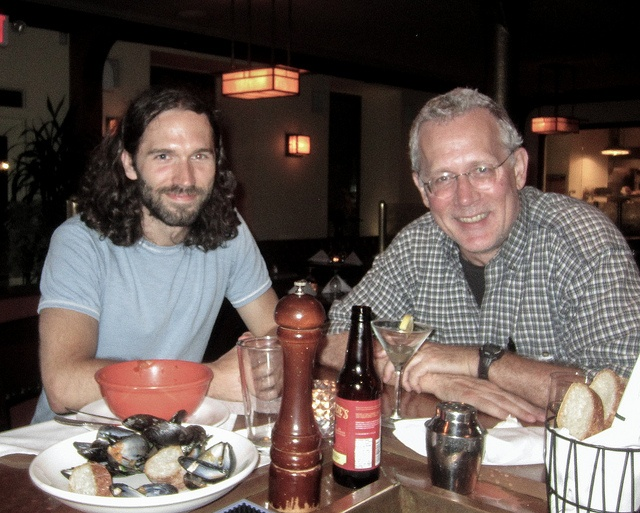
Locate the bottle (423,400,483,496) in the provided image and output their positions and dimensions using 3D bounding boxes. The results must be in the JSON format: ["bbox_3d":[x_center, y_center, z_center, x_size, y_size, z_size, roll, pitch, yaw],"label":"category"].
[{"bbox_3d":[0.244,0.353,0.961,0.143,0.177,0.139,2,-9,0],"label":"bottle"}]

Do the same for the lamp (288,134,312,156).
[{"bbox_3d":[-0.366,-1.950,9.078,0.560,0.387,0.095,-2,6,-43],"label":"lamp"}]

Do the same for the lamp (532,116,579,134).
[{"bbox_3d":[4.371,-2.512,9.895,0.489,0.184,0.534,11,14,43],"label":"lamp"}]
